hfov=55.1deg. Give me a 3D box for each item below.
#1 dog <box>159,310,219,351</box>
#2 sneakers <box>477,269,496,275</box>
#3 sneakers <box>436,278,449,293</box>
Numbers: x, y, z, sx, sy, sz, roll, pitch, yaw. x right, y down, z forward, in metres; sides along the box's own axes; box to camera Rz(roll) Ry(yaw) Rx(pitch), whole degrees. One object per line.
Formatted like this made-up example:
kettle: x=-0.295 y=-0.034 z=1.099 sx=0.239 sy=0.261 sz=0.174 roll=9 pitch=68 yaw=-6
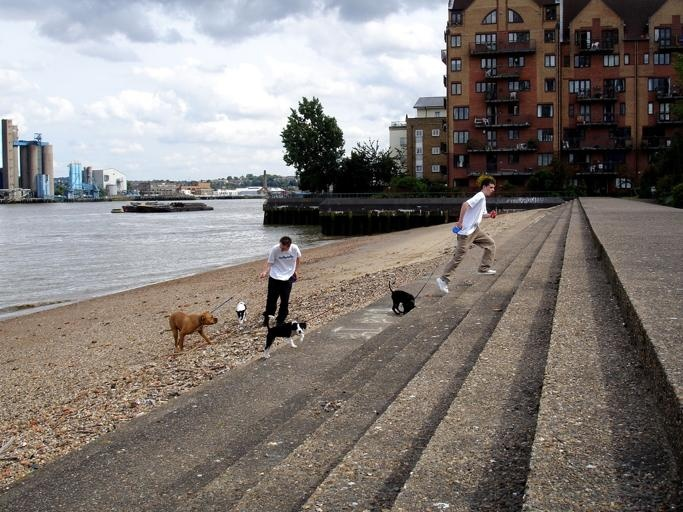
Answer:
dog: x=-2.779 y=1.350 z=12.108 sx=0.741 sy=0.739 sz=1.280 roll=-3 pitch=7 yaw=-20
sneakers: x=2.962 y=0.319 z=13.396 sx=0.342 sy=0.155 sz=0.121 roll=-3 pitch=10 yaw=7
sneakers: x=1.874 y=0.516 z=12.147 sx=0.148 sy=0.145 sz=0.338 roll=-16 pitch=52 yaw=-7
